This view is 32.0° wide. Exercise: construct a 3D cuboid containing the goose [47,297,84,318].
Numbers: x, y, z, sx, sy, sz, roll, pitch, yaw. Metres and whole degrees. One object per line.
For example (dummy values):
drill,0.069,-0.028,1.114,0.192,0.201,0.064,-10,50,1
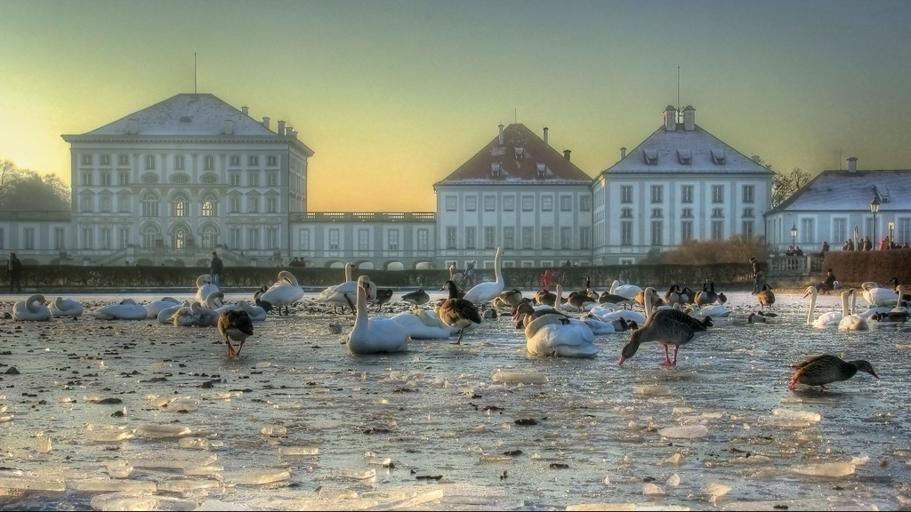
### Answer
goose,-22.694,2.986,91.655,1.564,0.889,1.466,1,-2,-27
